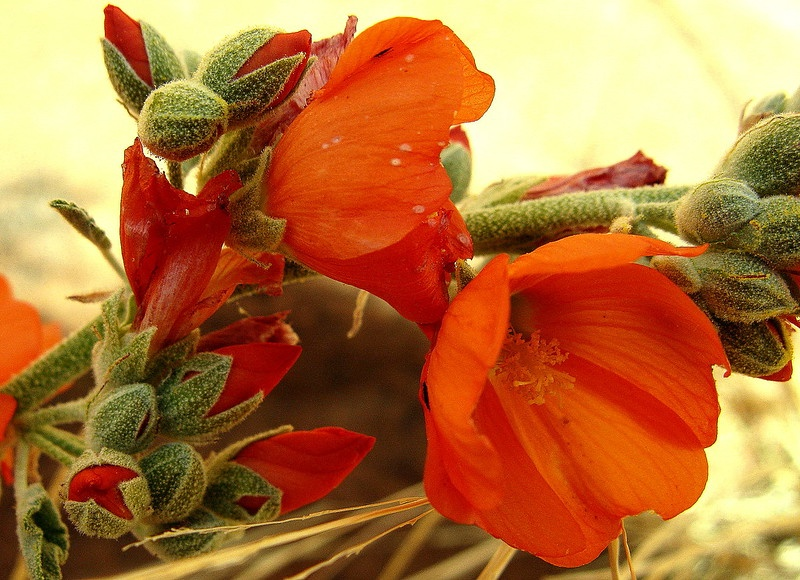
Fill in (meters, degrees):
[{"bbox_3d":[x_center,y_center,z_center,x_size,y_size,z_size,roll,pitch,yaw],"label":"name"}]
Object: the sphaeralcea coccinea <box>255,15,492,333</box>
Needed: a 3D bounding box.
[{"bbox_3d":[-0.025,-0.117,0.892,0.292,0.272,0.295,-11,-11,0],"label":"sphaeralcea coccinea"}]
